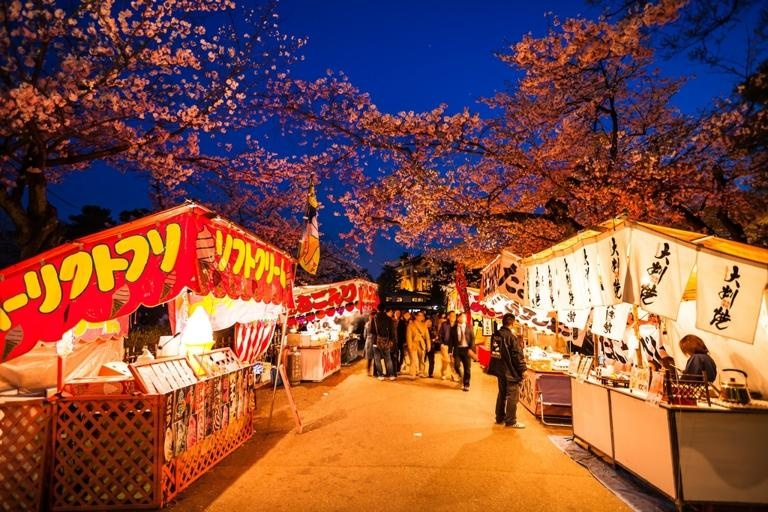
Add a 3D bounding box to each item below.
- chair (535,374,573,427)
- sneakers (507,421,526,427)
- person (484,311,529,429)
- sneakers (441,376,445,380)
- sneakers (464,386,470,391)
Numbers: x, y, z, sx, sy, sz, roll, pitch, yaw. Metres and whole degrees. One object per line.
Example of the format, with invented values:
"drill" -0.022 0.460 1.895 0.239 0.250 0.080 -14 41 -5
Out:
"chair" 4.083 3.277 11.844 0.956 0.898 0.748 3 3 -3
"sneakers" 2.929 3.735 11.358 0.401 0.173 0.159 -1 -4 -6
"person" 2.776 2.579 11.543 0.760 2.498 0.834 2 6 13
"sneakers" 1.972 4.031 16.975 0.111 0.161 0.088 0 4 8
"sneakers" 2.410 3.845 14.926 0.130 0.052 0.171 0 -6 4
